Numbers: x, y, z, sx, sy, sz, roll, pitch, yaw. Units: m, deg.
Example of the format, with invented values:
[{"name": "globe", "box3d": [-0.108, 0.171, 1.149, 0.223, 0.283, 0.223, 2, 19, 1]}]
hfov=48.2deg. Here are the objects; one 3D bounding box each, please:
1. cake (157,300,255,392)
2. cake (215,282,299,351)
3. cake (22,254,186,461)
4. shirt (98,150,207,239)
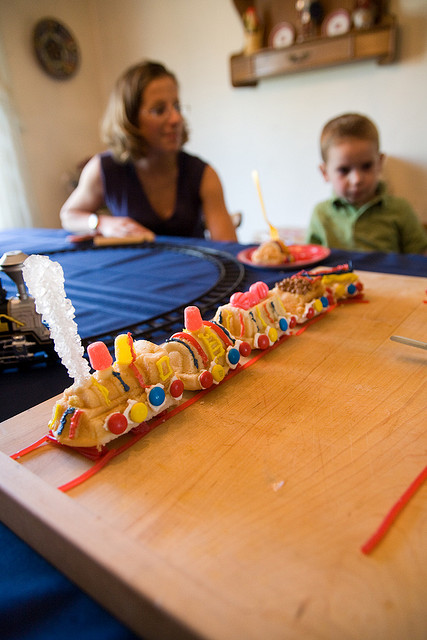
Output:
[{"name": "cake", "box3d": [-0.019, 0.020, 0.539, 0.088, 0.069, 0.112, 13, 30, 29]}, {"name": "cake", "box3d": [0.061, -0.017, 0.643, 0.080, 0.060, 0.104, 9, 23, 38]}, {"name": "cake", "box3d": [-0.104, 0.026, 0.463, 0.098, 0.166, 0.155, 2, 11, 29]}, {"name": "shirt", "box3d": [-0.204, -0.424, 1.594, 0.356, 0.322, 0.181, -1, 35, 0]}]
